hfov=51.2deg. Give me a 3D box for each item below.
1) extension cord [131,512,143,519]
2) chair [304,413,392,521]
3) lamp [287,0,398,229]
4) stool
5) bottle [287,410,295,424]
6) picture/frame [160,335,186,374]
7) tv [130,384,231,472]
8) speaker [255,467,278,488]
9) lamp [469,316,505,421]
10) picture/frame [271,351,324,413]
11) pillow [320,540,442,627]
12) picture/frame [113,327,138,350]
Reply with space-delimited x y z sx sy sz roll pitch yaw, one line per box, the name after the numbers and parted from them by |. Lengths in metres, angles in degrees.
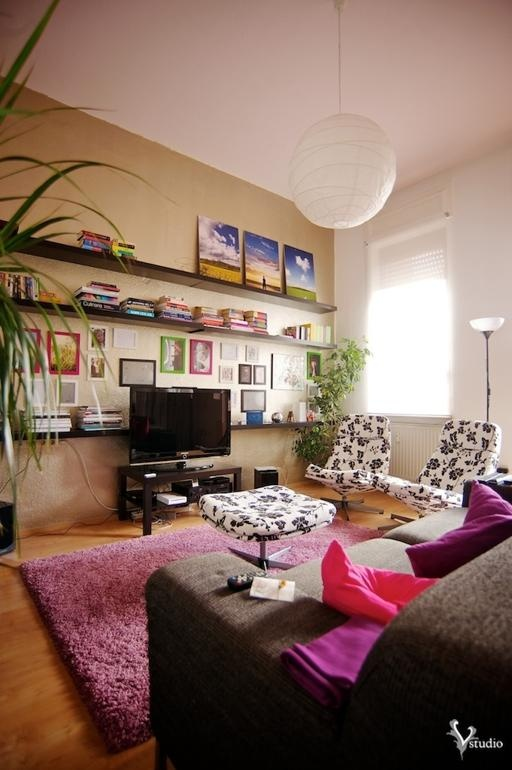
-0.785 0.870 3.567 0.083 0.032 0.064 2 0 -29 | extension cord
0.637 0.545 3.832 0.614 0.853 0.700 1 -2 43 | chair
0.338 -0.870 2.194 0.437 0.399 0.304 -3 6 20 | lamp
0.000 0.595 2.491 0.429 0.273 0.449 0 -2 -35 | stool
0.312 0.289 4.833 0.079 0.102 0.233 2 3 1 | bottle
-0.628 -0.233 4.010 0.030 0.324 0.266 -3 -4 42 | picture/frame
-0.533 0.294 3.661 0.059 0.413 0.581 0 -1 44 | tv
0.078 0.698 4.187 0.163 0.238 0.137 -1 5 -17 | speaker
1.650 -0.097 3.787 0.228 0.767 0.753 -2 6 22 | lamp
0.364 -0.018 4.973 0.546 0.484 0.027 3 -3 -44 | picture/frame
0.297 0.490 1.300 0.235 0.166 0.234 19 -25 -36 | pillow
-0.916 -0.328 3.719 0.016 0.138 0.159 -2 -2 42 | picture/frame
